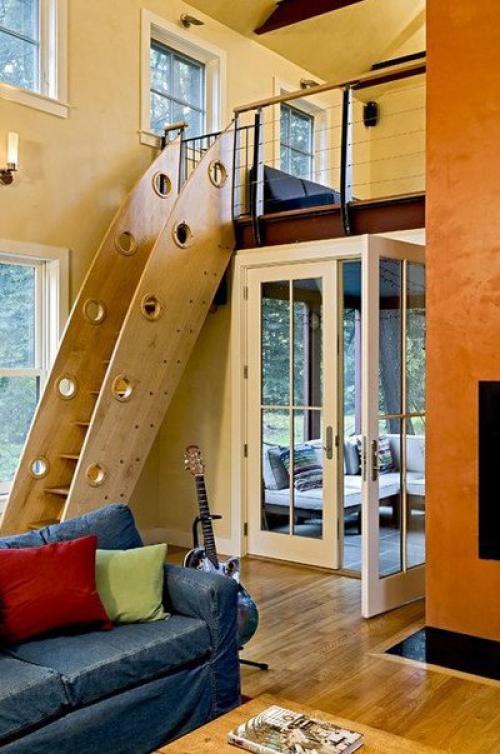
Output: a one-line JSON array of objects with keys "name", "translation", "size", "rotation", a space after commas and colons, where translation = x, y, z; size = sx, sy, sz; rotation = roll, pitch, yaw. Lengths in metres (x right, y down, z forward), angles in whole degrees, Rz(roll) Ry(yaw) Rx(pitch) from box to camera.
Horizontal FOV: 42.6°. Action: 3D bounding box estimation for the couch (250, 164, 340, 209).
[{"name": "couch", "translation": [0.423, -1.663, 5.888], "size": [0.549, 0.220, 0.196], "rotation": [4, 20, -8]}]
